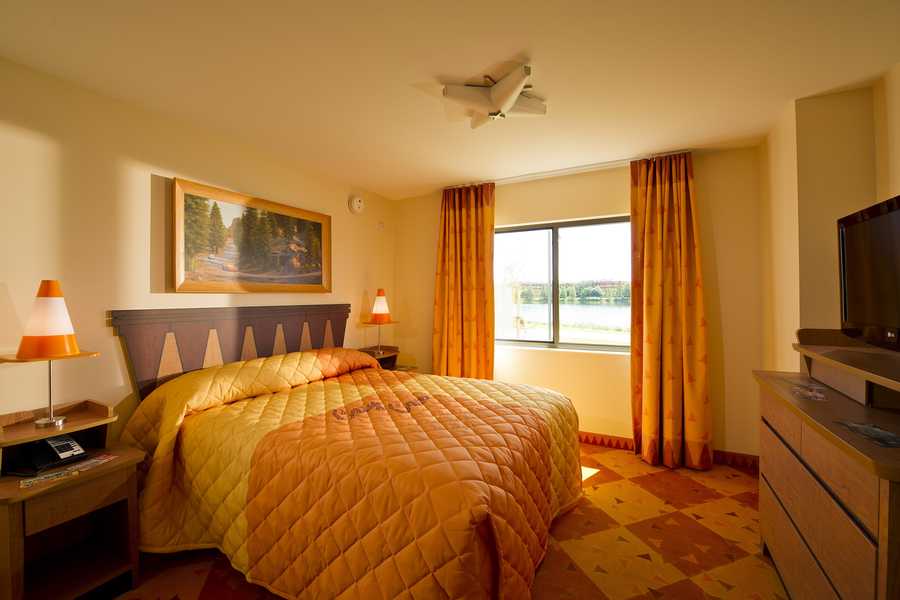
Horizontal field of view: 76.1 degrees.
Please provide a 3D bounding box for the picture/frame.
[{"bbox_3d":[-1.815,-0.580,5.113,0.051,0.657,1.181,4,3,37],"label":"picture/frame"}]

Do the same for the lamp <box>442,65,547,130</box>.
[{"bbox_3d":[0.351,-1.573,4.498,0.864,0.365,0.835,-1,3,-11],"label":"lamp"}]
